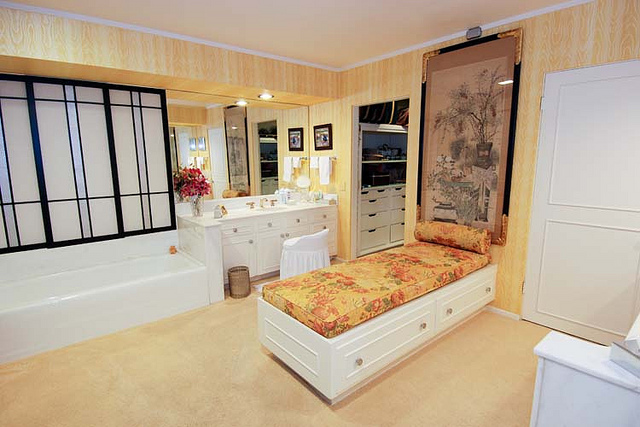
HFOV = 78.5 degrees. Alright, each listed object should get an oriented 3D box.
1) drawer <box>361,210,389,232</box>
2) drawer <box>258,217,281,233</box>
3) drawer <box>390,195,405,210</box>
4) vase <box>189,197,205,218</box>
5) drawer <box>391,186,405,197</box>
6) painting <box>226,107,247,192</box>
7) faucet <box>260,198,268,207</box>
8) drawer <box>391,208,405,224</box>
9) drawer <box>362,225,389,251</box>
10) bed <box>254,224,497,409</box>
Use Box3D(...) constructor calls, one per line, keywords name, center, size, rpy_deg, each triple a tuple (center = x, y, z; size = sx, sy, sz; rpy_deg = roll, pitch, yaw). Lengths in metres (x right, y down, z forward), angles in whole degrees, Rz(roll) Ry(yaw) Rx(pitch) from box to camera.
Box3D(name="drawer", center=(0.926, 0.125, 6.464), size=(0.371, 0.156, 0.343), rpy_deg=(-5, 5, -38))
Box3D(name="drawer", center=(-0.683, 0.109, 5.374), size=(0.287, 0.137, 0.178), rpy_deg=(-7, 10, -43))
Box3D(name="drawer", center=(1.361, -0.183, 6.843), size=(0.217, 0.270, 0.406), rpy_deg=(5, 9, 43))
Box3D(name="vase", center=(-1.607, -0.082, 5.134), size=(0.147, 0.265, 0.178), rpy_deg=(-7, 13, -24))
Box3D(name="drawer", center=(1.370, -0.374, 6.804), size=(0.279, 0.189, 0.146), rpy_deg=(-6, 10, -39))
Box3D(name="painting", center=(-1.195, -0.905, 5.648), size=(0.303, 1.195, 0.200), rpy_deg=(-8, 14, -29))
Box3D(name="faucet", center=(-0.846, -0.160, 5.864), size=(0.077, 0.114, 0.266), rpy_deg=(0, 12, 5))
Box3D(name="drawer", center=(1.380, 0.055, 6.888), size=(0.227, 0.269, 0.399), rpy_deg=(4, 8, 40))
Box3D(name="drawer", center=(0.934, 0.406, 6.519), size=(0.525, 0.273, 0.374), rpy_deg=(-5, 7, -44))
Box3D(name="bed", center=(0.830, 0.827, 4.459), size=(2.888, 1.123, 1.226), rpy_deg=(-11, 15, -40))
